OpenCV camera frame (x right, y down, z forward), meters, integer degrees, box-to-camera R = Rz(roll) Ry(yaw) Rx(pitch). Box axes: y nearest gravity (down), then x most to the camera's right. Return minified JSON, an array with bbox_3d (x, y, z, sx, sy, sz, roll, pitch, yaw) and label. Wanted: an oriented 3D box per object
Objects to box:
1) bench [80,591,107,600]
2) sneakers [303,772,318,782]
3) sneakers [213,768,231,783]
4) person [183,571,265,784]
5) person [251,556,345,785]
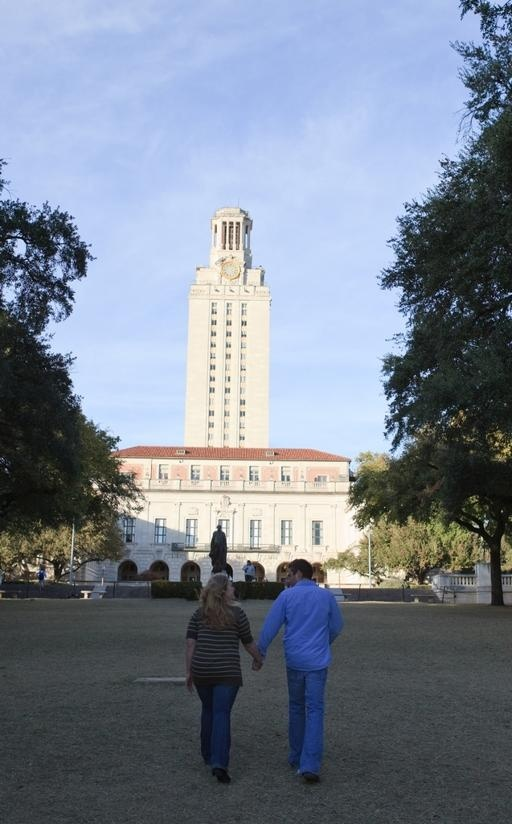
[{"bbox_3d":[-8.954,10.055,48.232,1.302,0.336,9.934,1,-9,-10],"label":"bench"},{"bbox_3d":[0.351,2.320,5.602,0.103,0.071,0.121,-1,-9,4],"label":"sneakers"},{"bbox_3d":[-0.216,2.292,5.534,0.058,0.084,0.161,-2,-26,14],"label":"sneakers"},{"bbox_3d":[-0.215,1.736,5.886,0.486,1.299,0.580,1,-9,-5],"label":"person"},{"bbox_3d":[0.291,1.789,5.990,0.528,1.245,0.708,-2,-9,10],"label":"person"}]
